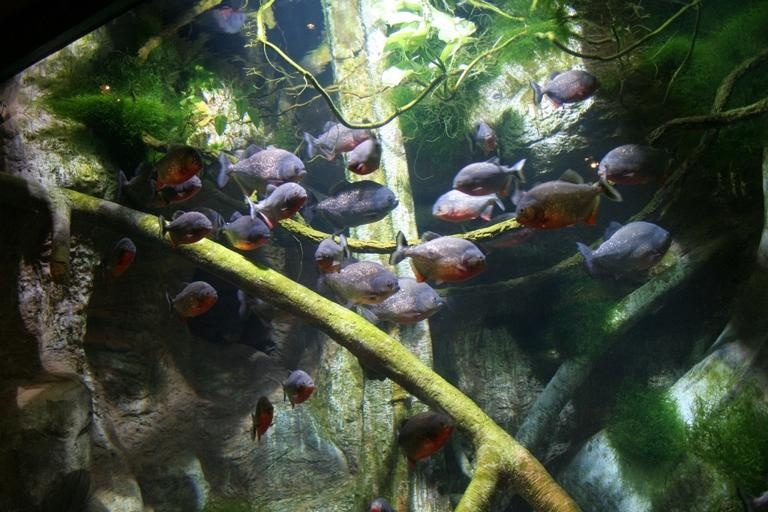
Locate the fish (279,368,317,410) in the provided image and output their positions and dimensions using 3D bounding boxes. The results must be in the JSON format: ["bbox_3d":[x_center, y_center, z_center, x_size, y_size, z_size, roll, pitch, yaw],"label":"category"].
[{"bbox_3d":[-1.018,1.551,8.408,0.302,0.458,0.258,-1,18,-25],"label":"fish"}]

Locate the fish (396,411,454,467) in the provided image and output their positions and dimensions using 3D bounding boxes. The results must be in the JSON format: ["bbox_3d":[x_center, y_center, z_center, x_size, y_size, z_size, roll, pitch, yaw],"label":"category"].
[{"bbox_3d":[0.435,1.932,7.755,0.564,0.582,0.206,7,17,3],"label":"fish"}]

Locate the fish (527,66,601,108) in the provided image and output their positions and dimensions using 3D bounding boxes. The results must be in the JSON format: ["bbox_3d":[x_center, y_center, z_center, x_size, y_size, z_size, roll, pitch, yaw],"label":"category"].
[{"bbox_3d":[2.140,-1.999,8.681,0.356,0.450,0.863,-3,19,-29],"label":"fish"}]
